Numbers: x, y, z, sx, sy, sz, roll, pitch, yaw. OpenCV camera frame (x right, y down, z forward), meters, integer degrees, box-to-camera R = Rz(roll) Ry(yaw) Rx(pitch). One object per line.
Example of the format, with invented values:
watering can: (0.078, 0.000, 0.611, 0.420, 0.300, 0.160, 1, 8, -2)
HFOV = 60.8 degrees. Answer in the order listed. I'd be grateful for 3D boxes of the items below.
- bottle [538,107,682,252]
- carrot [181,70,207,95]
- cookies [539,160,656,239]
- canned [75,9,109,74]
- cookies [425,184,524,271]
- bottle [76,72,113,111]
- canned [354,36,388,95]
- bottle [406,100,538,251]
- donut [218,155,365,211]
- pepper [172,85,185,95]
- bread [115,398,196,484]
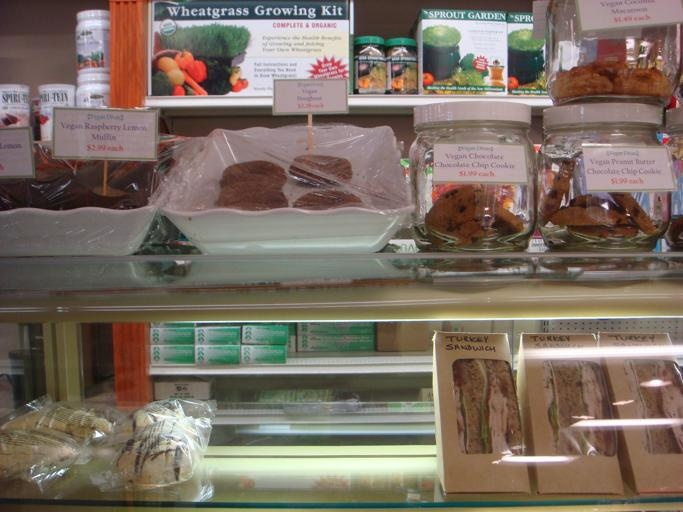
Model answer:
bottle: (0.373, -0.120, 1.017, 0.272, 0.239, 0.242, 0, -2, 1)
carrot: (-0.525, -0.612, 2.055, 0.112, 0.030, 0.026, 40, -3, -13)
cookies: (0.399, -0.078, 0.908, 0.157, 0.129, 0.045, 16, 2, 9)
canned: (-0.883, -0.750, 2.043, 0.145, 0.210, 0.058, 1, 7, 25)
cookies: (0.209, -0.049, 0.922, 0.170, 0.131, 0.085, -1, 7, 7)
bottle: (-0.877, -0.584, 2.028, 0.129, 0.130, 0.078, -3, 7, -3)
canned: (0.099, -0.679, 2.084, 0.124, 0.198, 0.051, -2, 7, 1)
bottle: (0.148, -0.123, 0.959, 0.286, 0.231, 0.227, 0, 2, -3)
donut: (-0.081, -0.116, 0.894, 0.161, 0.018, 0.104, -3, 36, -7)
pepper: (-0.574, -0.582, 2.050, 0.047, 0.036, 0.015, -3, 7, -8)
bread: (-0.305, 0.301, 0.959, 0.102, 0.039, 0.119, -1, 24, -9)
